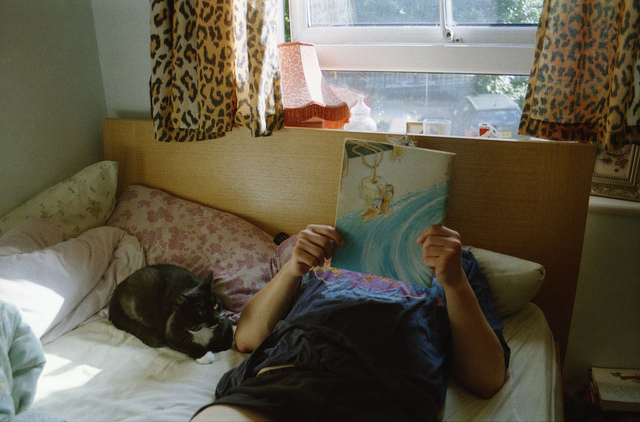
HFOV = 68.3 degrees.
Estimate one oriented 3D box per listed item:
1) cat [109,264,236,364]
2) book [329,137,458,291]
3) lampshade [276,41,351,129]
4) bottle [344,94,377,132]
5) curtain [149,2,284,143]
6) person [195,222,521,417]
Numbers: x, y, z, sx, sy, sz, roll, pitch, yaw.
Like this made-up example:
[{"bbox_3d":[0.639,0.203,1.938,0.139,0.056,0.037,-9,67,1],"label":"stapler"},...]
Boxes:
[{"bbox_3d":[-0.589,0.407,1.918,0.451,0.260,0.314,27,43,17],"label":"cat"},{"bbox_3d":[0.256,-0.018,1.904,0.487,0.506,0.516,8,5,6],"label":"book"},{"bbox_3d":[-0.066,-0.574,2.225,0.304,0.404,0.305,-1,18,-23],"label":"lampshade"},{"bbox_3d":[0.198,-0.464,2.238,0.150,0.182,0.157,1,9,7],"label":"bottle"},{"bbox_3d":[-0.451,-0.609,2.072,0.596,0.615,0.230,4,14,8],"label":"curtain"},{"bbox_3d":[0.142,0.346,1.655,1.113,0.620,0.503,-1,15,-12],"label":"person"}]
